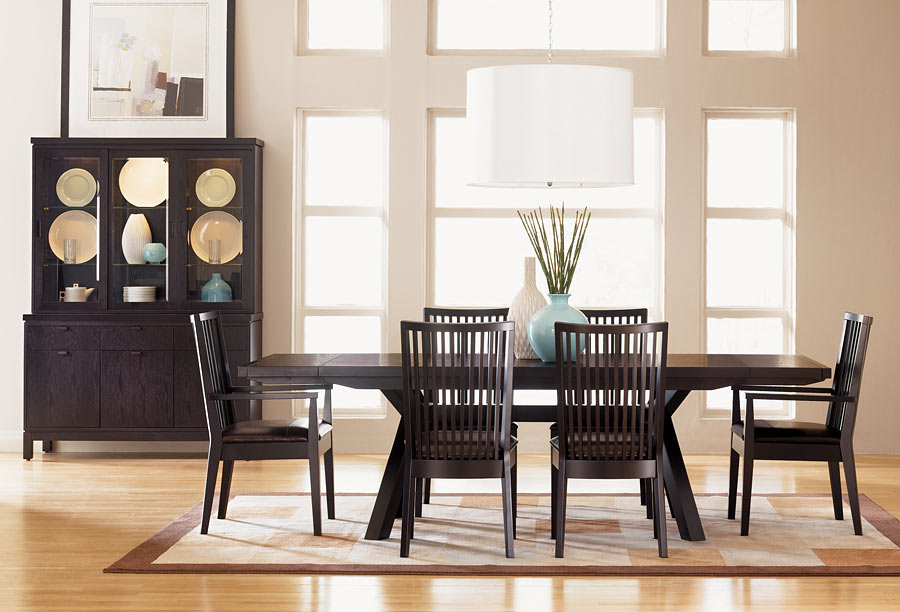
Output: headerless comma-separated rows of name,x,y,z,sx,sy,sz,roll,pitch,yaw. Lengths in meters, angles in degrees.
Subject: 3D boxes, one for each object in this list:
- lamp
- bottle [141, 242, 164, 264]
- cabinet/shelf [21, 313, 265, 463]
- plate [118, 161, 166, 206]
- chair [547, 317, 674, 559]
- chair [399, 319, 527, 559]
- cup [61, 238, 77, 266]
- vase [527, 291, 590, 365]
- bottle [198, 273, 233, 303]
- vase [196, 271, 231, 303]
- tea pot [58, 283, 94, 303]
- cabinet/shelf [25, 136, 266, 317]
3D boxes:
lamp,0.576,-1.088,4.909,0.763,0.818,0.742,0,0,-24
bottle,-2.357,-0.427,6.908,0.175,0.135,0.148,0,-2,-10
cabinet/shelf,-2.343,0.581,6.603,1.204,0.755,0.414,0,-2,0
plate,-2.458,-0.985,6.936,0.373,0.365,0.054,-5,6,-5
chair,0.948,0.745,5.183,0.686,1.361,0.622,1,9,5
chair,0.056,0.738,5.211,0.674,1.377,0.599,0,9,3
cup,-3.050,-0.438,6.991,0.166,0.289,0.161,0,1,0
vase,0.631,0.129,5.448,0.435,0.477,0.407,1,1,28
bottle,-1.865,-0.146,6.999,0.242,0.251,0.242,0,1,-6
vase,-1.882,-0.154,6.985,0.237,0.247,0.238,0,1,-6
tea pot,-2.986,-0.102,6.969,0.224,0.147,0.135,1,-2,0
cabinet/shelf,-2.565,-0.569,7.169,1.741,1.572,0.441,-4,10,-37
